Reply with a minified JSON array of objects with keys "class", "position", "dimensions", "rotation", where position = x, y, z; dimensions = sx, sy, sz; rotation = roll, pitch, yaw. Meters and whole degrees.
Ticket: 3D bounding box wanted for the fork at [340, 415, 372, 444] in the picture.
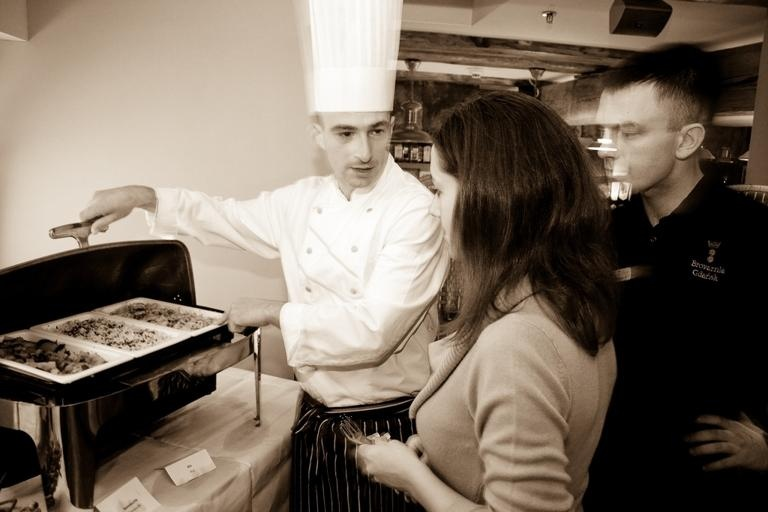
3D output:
[{"class":"fork","position":[-0.101,0.629,2.354],"dimensions":[0.047,0.047,0.172],"rotation":[-20,12,-23]}]
